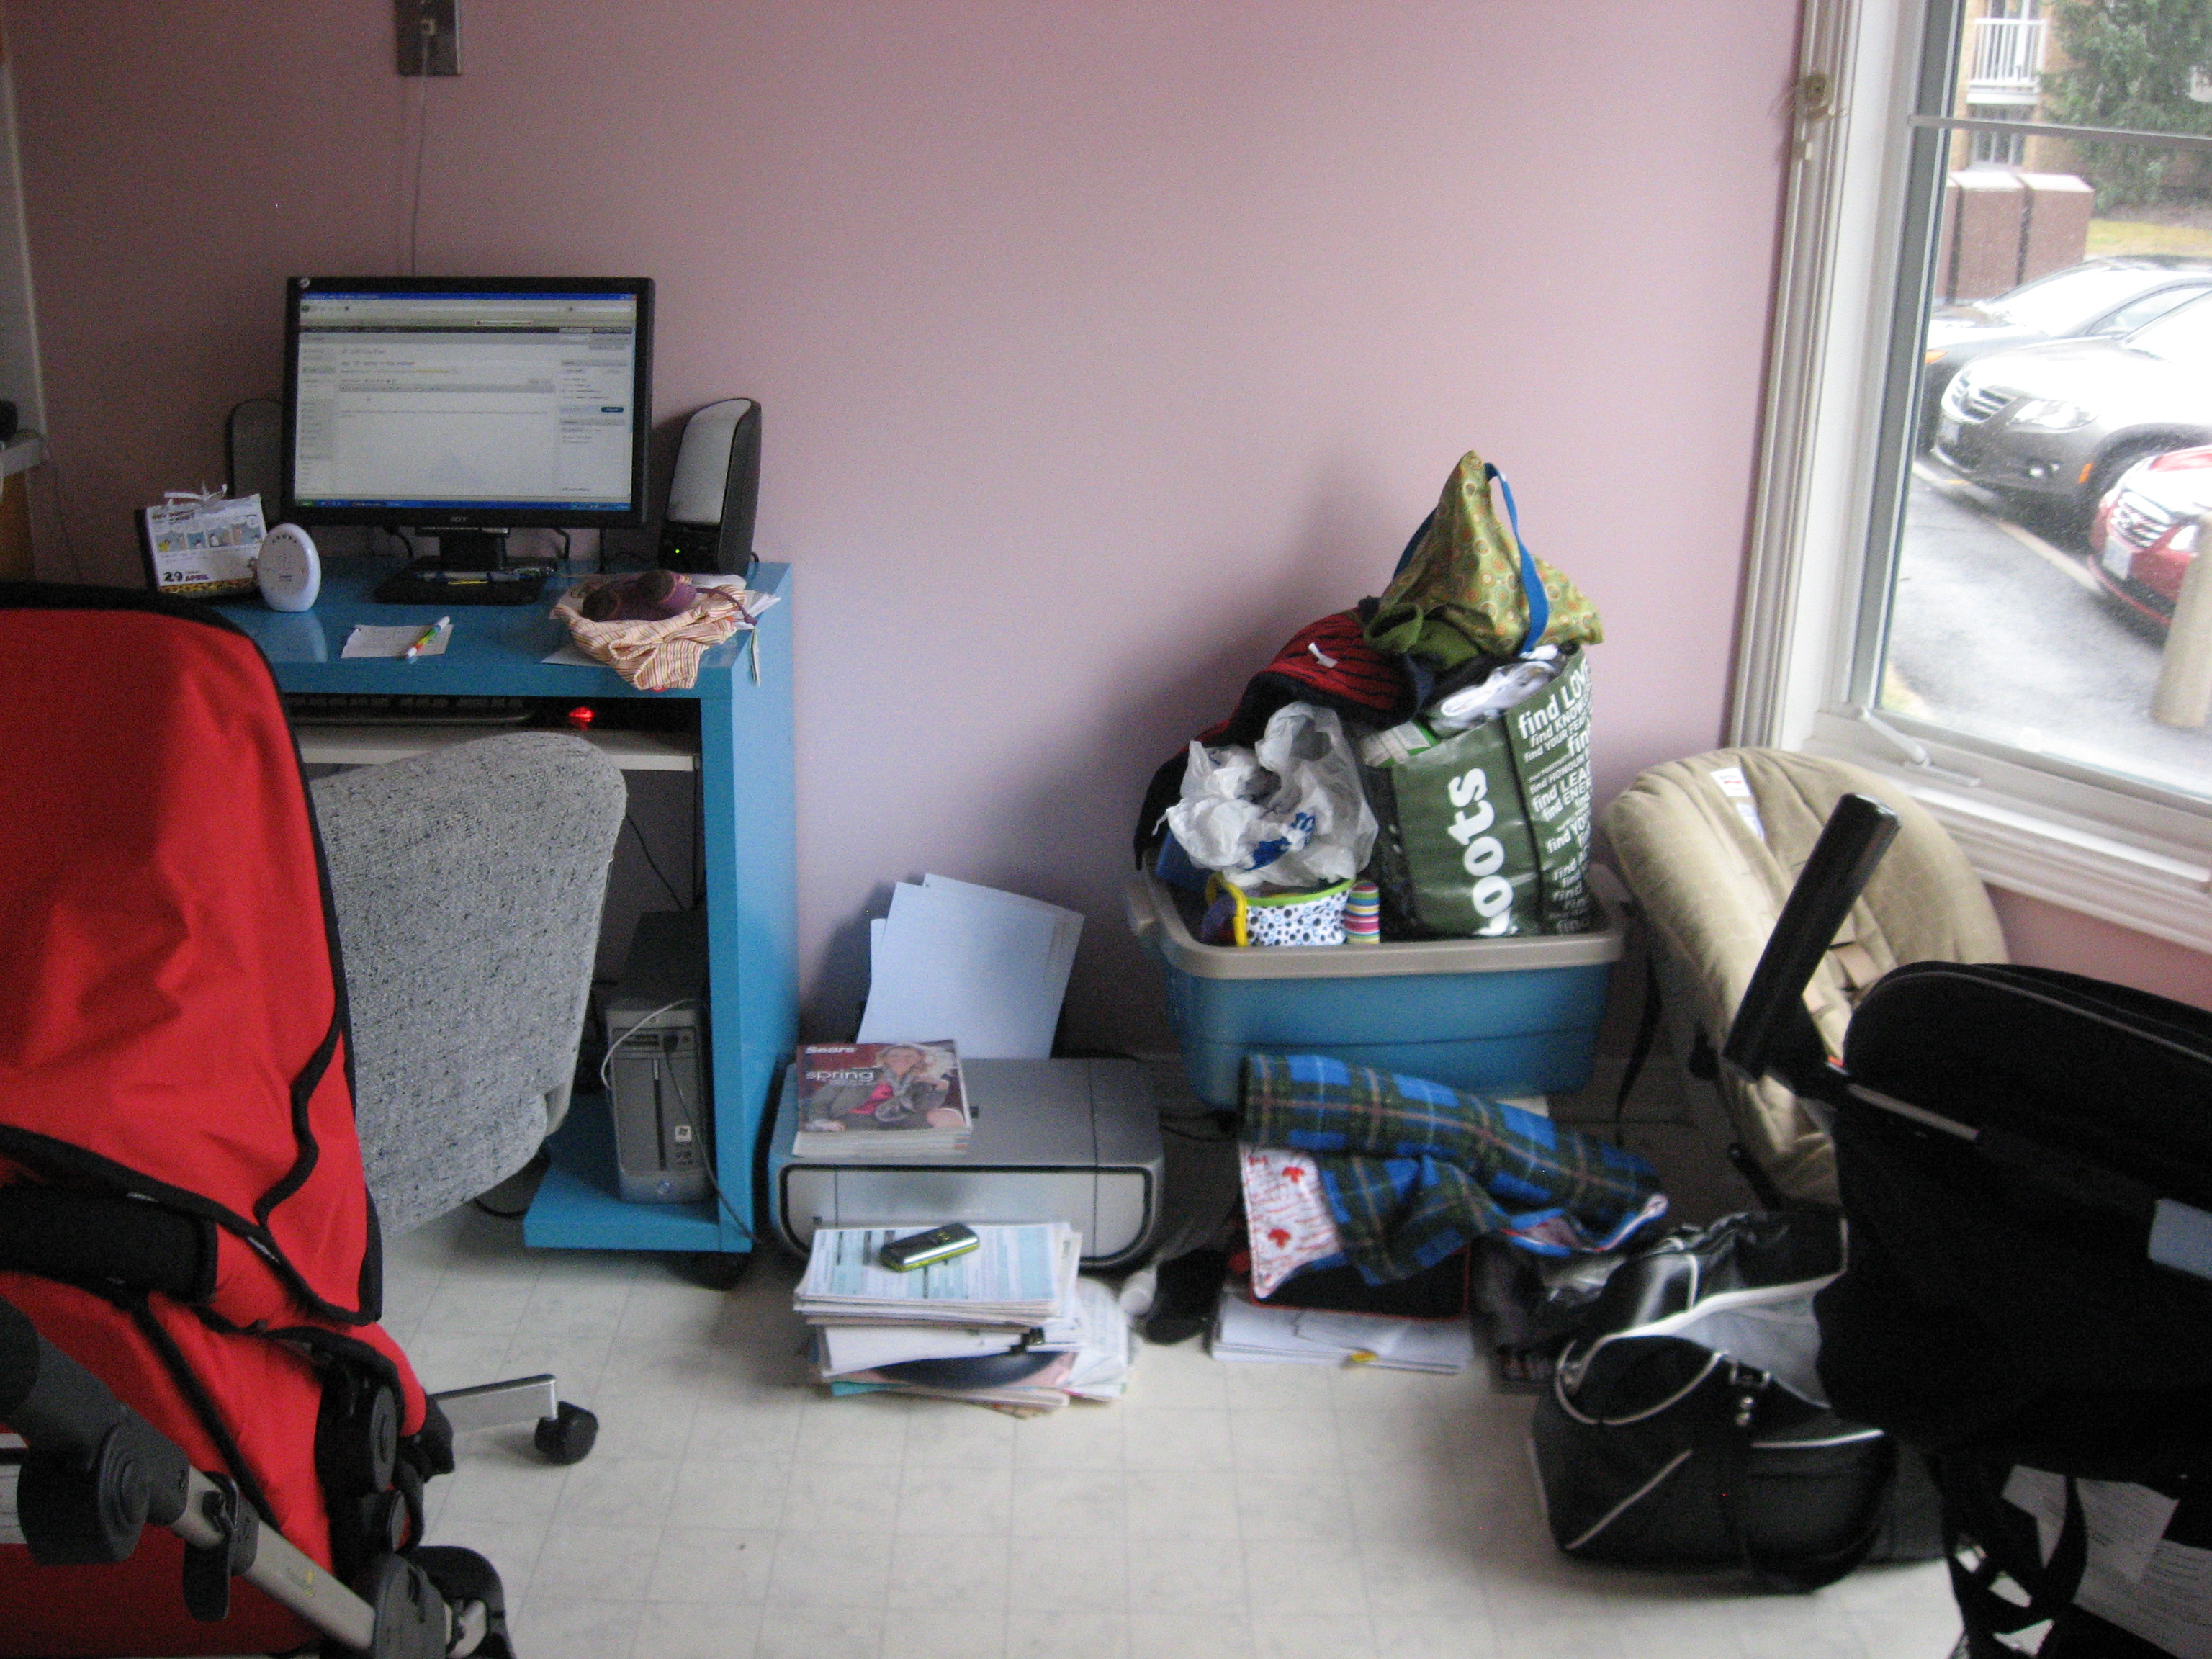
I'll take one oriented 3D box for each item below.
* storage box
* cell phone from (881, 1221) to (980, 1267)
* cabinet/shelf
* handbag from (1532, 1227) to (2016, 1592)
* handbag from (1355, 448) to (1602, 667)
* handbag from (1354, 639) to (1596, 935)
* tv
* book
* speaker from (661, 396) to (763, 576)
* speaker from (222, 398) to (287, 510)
[{"bbox_3d":[0.451,0.267,2.709,0.470,0.174,0.380,-2,13,-5],"label":"storage box"},{"bbox_3d":[-0.254,0.603,2.633,0.148,0.023,0.069,-15,26,-32],"label":"cell phone"},{"bbox_3d":[-0.912,0.114,2.682,0.710,0.649,0.515,-2,-1,-9],"label":"cabinet/shelf"},{"bbox_3d":[0.813,0.717,2.294,0.493,0.203,0.509,-5,27,12],"label":"handbag"},{"bbox_3d":[0.537,-0.369,2.796,0.409,0.323,0.299,-10,11,-35],"label":"handbag"},{"bbox_3d":[0.562,-0.033,2.697,0.361,0.387,0.130,-9,23,-22],"label":"handbag"},{"bbox_3d":[-0.971,-0.608,2.752,0.489,0.432,0.179,2,16,-3],"label":"tv"},{"bbox_3d":[-0.204,0.578,2.734,0.576,0.296,0.547,-2,22,-3],"label":"book"},{"bbox_3d":[-0.606,-0.511,2.775,0.122,0.244,0.176,4,22,11],"label":"speaker"},{"bbox_3d":[-1.344,-0.578,2.877,0.110,0.189,0.048,-5,17,-13],"label":"speaker"}]
